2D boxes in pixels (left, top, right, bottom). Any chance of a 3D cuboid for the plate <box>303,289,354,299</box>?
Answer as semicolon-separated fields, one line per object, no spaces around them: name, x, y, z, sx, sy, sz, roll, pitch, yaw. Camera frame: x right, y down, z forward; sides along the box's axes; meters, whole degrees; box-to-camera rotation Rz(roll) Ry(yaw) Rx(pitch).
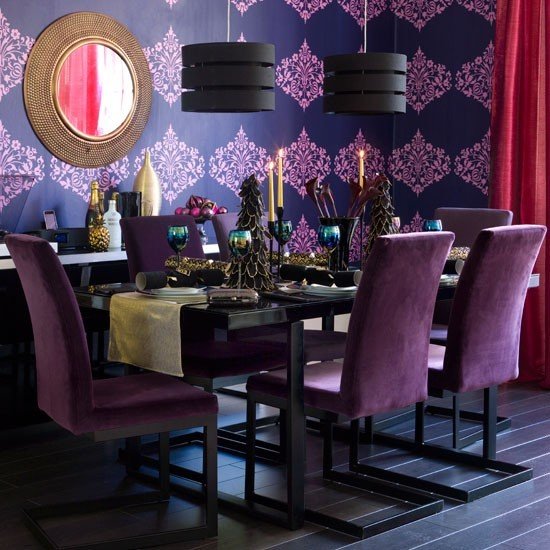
plate;0.166;0.060;1.721;0.156;0.020;0.120;0;-1;7

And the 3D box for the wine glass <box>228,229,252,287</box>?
wine glass;-0.106;-0.048;1.714;0.063;0.174;0.282;0;-1;-5

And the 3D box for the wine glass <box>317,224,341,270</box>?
wine glass;0.193;-0.106;1.976;0.070;0.173;0.252;0;-1;6

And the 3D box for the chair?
chair;-0.254;0.331;2.035;1.803;0.867;1.265;0;-1;7

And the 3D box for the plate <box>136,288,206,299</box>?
plate;-0.301;0.053;1.676;0.215;0.031;0.126;0;-1;0

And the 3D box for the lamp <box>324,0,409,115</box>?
lamp;0.389;-0.892;2.469;0.271;0.589;0.299;2;5;10

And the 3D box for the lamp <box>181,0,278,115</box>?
lamp;-0.148;-0.764;2.044;0.252;0.418;0.270;0;1;1

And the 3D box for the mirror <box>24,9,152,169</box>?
mirror;-1.096;-1.085;3.253;0.067;1.029;0.923;4;5;38

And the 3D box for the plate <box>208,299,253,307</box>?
plate;-0.113;0.076;1.506;0.124;0.018;0.063;1;-1;-8
